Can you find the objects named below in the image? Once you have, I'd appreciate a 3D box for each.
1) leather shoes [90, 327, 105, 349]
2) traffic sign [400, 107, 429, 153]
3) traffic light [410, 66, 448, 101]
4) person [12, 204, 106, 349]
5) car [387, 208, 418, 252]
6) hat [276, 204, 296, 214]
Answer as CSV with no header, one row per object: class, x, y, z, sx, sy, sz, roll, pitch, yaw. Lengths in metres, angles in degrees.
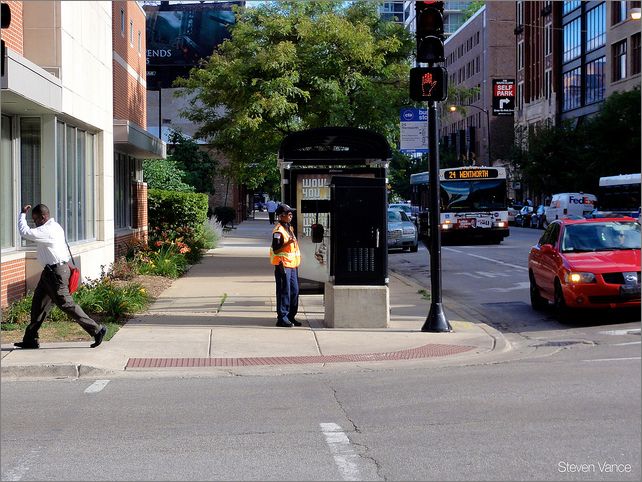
leather shoes,-3.199,1.400,10.748,0.140,0.387,0.163,23,7,26
traffic sign,2.524,-3.078,20.258,0.718,1.208,1.220,0,4,6
traffic light,1.807,-2.660,12.490,0.646,0.622,0.213,0,1,5
person,-3.843,0.516,10.645,1.116,2.082,0.808,2,5,32
car,3.339,-0.411,30.627,1.153,1.728,2.365,0,4,6
hat,-0.602,-0.539,12.871,0.357,0.182,0.228,-7,8,-3
